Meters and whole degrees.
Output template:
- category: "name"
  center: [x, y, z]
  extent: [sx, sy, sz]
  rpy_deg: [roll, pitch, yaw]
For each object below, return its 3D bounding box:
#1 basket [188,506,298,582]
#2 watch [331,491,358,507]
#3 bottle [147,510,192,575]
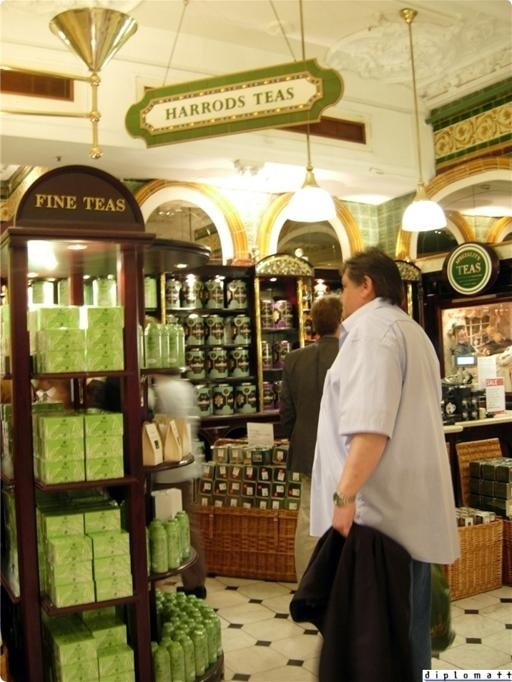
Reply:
- category: "basket"
  center: [-0.067, 1.471, 4.634]
  extent: [0.713, 0.401, 0.684]
  rpy_deg: [-1, -4, 4]
- category: "watch"
  center: [0.253, 0.453, 1.682]
  extent: [0.057, 0.035, 0.060]
  rpy_deg: [11, -23, -38]
- category: "bottle"
  center: [-0.377, 0.932, 2.828]
  extent: [0.200, 0.288, 0.328]
  rpy_deg: [-1, -5, 13]
